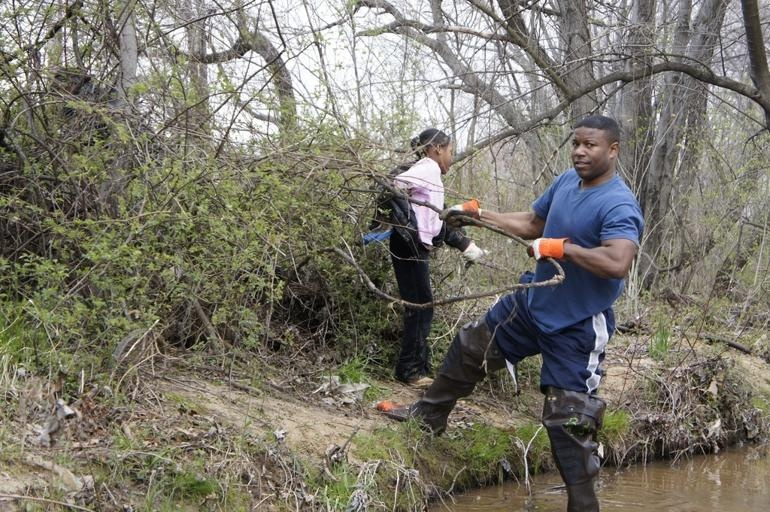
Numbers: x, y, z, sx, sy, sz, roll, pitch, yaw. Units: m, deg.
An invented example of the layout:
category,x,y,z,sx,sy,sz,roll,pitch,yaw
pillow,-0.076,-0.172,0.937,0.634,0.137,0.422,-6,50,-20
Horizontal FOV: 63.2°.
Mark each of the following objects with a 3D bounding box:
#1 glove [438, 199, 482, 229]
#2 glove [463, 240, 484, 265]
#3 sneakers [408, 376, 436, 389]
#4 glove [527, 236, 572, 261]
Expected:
category,x,y,z,sx,sy,sz,roll,pitch,yaw
glove,0.683,-0.374,5.526,0.356,0.147,0.207,-6,-4,-41
glove,0.870,-0.026,6.426,0.226,0.169,0.083,38,-31,-1
sneakers,0.382,1.364,6.732,0.342,0.159,0.129,-7,0,14
glove,1.274,-0.060,4.904,0.284,0.203,0.193,5,-7,14
